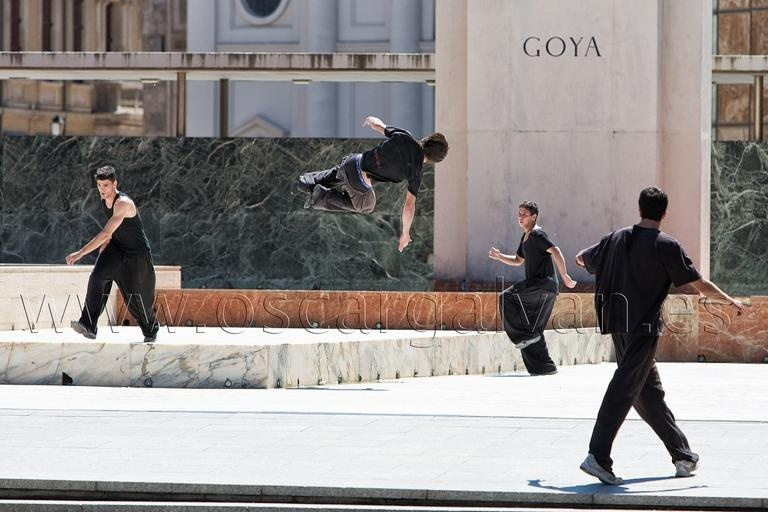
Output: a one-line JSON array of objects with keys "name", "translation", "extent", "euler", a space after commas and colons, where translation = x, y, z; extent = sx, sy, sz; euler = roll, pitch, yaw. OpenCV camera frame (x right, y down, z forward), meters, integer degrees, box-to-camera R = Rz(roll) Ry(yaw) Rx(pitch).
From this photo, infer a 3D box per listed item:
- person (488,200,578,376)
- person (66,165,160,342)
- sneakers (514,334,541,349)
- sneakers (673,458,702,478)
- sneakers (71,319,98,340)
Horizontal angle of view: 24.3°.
[{"name": "person", "translation": [3.206, 0.780, 38.866], "extent": [1.433, 3.761, 1.096], "euler": [-1, 6, 4]}, {"name": "person", "translation": [-5.589, 0.039, 37.284], "extent": [1.631, 3.656, 0.832], "euler": [-2, 6, -9]}, {"name": "sneakers", "translation": [3.117, 1.967, 38.960], "extent": [0.655, 0.267, 0.219], "euler": [-23, -3, 6]}, {"name": "sneakers", "translation": [5.664, 4.006, 33.282], "extent": [0.554, 0.255, 0.209], "euler": [-22, 13, -26]}, {"name": "sneakers", "translation": [-6.226, 1.631, 37.195], "extent": [0.613, 0.252, 0.249], "euler": [38, 5, -19]}]
